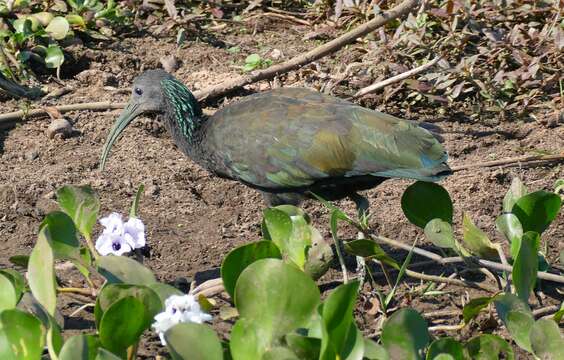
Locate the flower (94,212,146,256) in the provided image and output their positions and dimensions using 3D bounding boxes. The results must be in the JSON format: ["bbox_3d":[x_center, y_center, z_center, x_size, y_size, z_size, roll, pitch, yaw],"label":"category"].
[{"bbox_3d":[-1.161,0.406,4.795,0.362,0.197,0.327,-26,66,-10],"label":"flower"}]

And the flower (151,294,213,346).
[{"bbox_3d":[-0.693,0.880,4.232,0.381,0.357,0.293,11,49,-43],"label":"flower"}]
